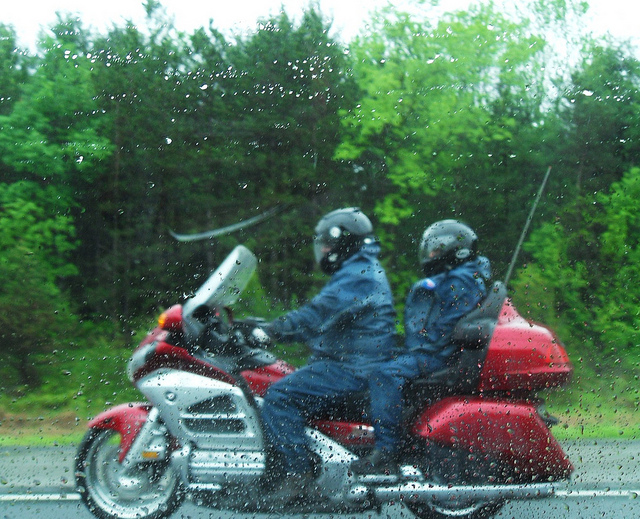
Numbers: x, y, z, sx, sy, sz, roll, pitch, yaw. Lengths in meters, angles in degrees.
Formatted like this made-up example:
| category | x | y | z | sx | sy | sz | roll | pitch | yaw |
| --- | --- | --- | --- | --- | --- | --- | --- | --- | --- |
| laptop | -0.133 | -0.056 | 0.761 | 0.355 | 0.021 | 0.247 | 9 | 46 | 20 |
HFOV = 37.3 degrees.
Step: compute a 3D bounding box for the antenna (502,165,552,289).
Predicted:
| category | x | y | z | sx | sy | sz | roll | pitch | yaw |
| --- | --- | --- | --- | --- | --- | --- | --- | --- | --- |
| antenna | 0.956 | -0.144 | 4.337 | 0.144 | 0.555 | 0.121 | 1 | 5 | 10 |
